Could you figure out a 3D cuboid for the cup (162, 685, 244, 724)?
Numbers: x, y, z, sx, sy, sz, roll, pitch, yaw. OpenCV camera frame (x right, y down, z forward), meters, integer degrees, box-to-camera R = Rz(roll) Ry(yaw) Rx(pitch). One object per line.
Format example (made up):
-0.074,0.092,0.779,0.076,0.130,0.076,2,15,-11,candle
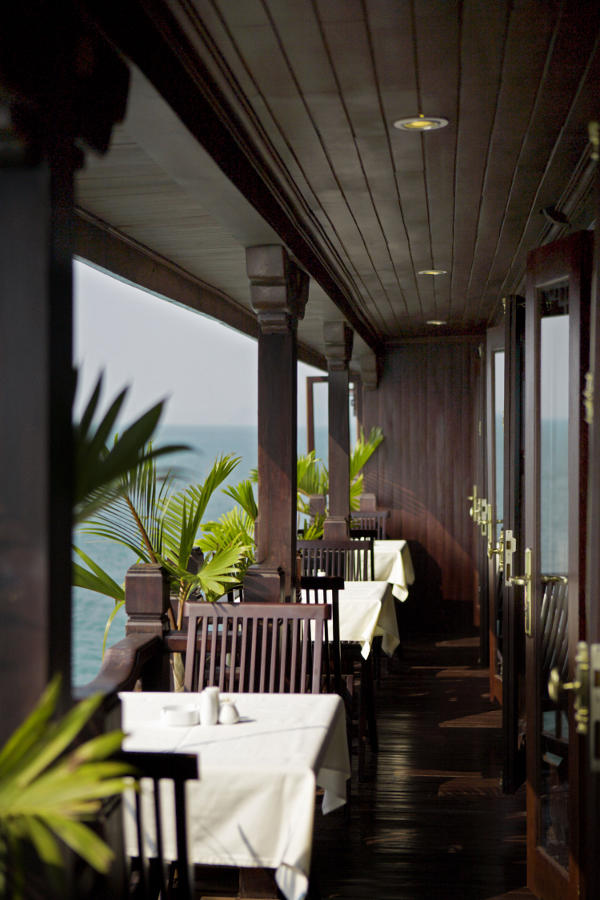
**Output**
-0.315,0.801,2.230,0.199,0.121,0.117,5,-8,4,cup
